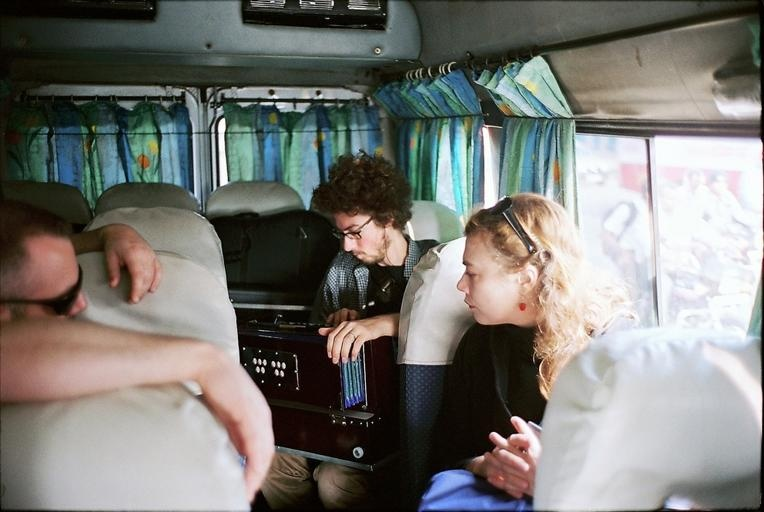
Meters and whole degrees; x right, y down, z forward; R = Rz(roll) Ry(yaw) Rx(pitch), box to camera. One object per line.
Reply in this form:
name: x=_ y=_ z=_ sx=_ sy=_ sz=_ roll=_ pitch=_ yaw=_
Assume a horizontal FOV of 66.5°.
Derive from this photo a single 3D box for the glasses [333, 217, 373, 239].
glasses: x=-0.122 y=-0.107 z=2.530 sx=0.119 sy=0.034 sz=0.118 roll=-36 pitch=19 yaw=-30
